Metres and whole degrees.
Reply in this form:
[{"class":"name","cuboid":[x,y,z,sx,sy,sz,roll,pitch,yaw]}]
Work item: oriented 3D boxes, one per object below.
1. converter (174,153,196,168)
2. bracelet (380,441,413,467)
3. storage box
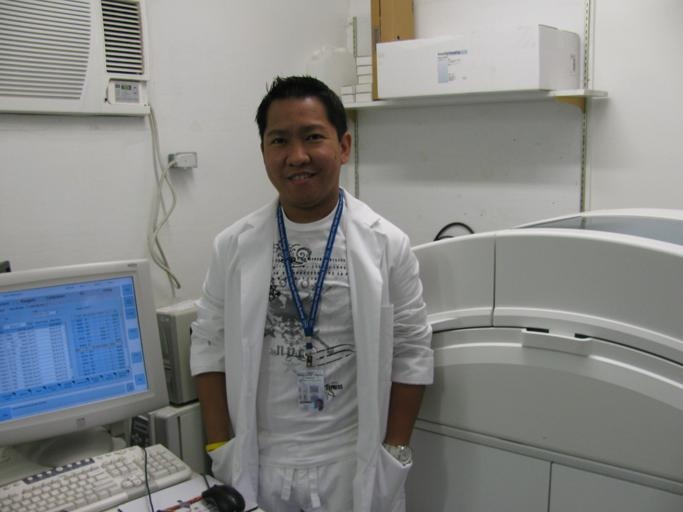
[{"class":"converter","cuboid":[-0.698,-0.433,2.450,0.058,0.086,0.110,-2,5,39]},{"class":"bracelet","cuboid":[0.167,0.597,1.638,0.076,0.056,0.083,-7,-27,38]},{"class":"storage box","cuboid":[0.618,-0.912,2.618,0.606,0.214,0.458,2,7,27]}]
